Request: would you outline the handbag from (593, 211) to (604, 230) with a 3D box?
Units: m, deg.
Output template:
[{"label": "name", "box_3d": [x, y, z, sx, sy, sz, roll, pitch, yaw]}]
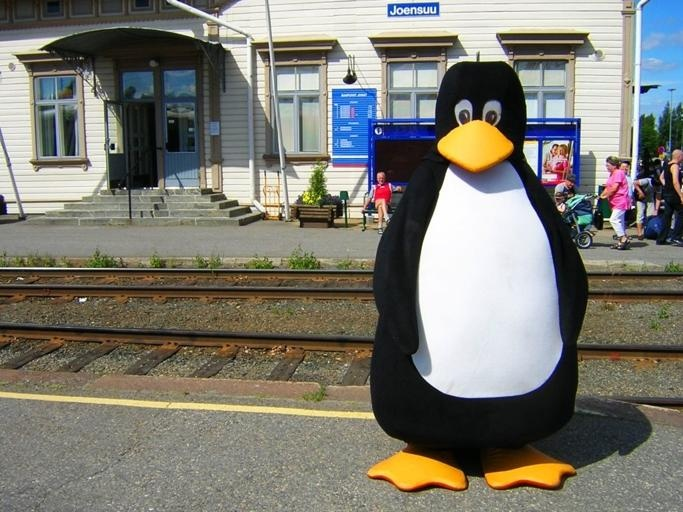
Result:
[{"label": "handbag", "box_3d": [5.485, -0.728, 13.891, 0.142, 0.458, 0.452, 1, -8, 15]}]

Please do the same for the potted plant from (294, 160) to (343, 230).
[{"label": "potted plant", "box_3d": [-0.576, -1.444, 16.009, 1.151, 1.536, 1.032, 1, 4, 0]}]

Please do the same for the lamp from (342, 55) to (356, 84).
[{"label": "lamp", "box_3d": [0.246, -4.991, 17.525, 0.368, 0.776, 0.539, -1, 13, 0]}]
